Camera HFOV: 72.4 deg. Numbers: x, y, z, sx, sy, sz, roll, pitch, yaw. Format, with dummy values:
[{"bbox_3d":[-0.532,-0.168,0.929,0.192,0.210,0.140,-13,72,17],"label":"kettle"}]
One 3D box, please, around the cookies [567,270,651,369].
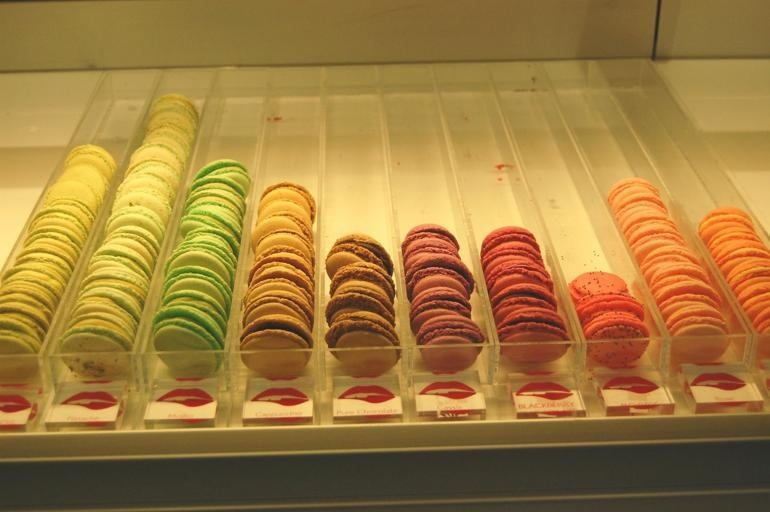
[{"bbox_3d":[0.888,0.241,2.108,0.217,0.393,0.144,-4,-66,1],"label":"cookies"}]
